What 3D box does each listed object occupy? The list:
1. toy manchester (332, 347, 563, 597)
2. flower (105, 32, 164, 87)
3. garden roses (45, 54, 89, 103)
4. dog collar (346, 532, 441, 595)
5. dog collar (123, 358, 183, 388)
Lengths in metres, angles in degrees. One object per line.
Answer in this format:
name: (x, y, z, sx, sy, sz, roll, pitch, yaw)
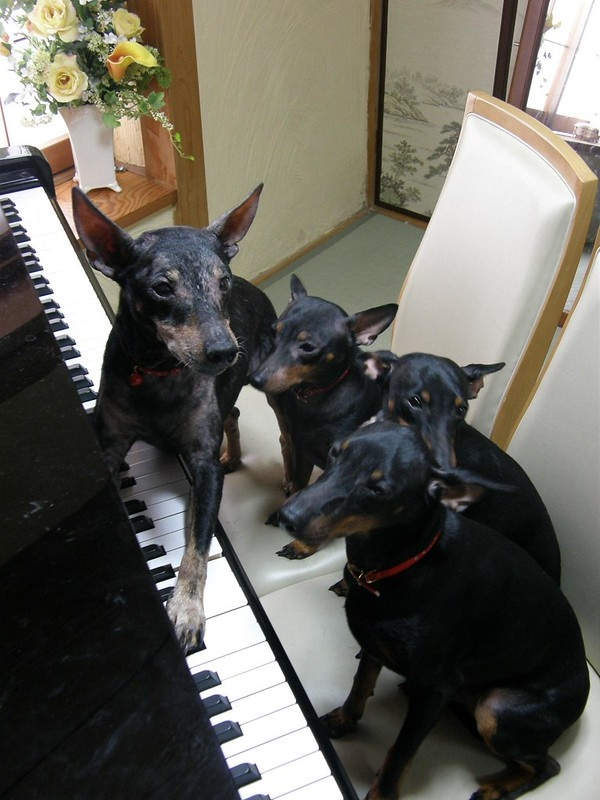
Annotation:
toy manchester: (0.312, 0.174, 1.195, 0.296, 0.559, 0.207, -36, 53, -2)
flower: (-0.485, -0.957, 1.778, 0.158, 0.093, 0.100, 5, 72, 13)
garden roses: (-0.658, -0.906, 1.767, 0.109, 0.104, 0.129, -11, 43, -17)
dog collar: (0.122, 0.252, 0.988, 0.125, 0.039, 0.149, -8, 6, 28)
dog collar: (-0.247, -0.045, 1.039, 0.065, 0.028, 0.046, -4, 12, -6)
